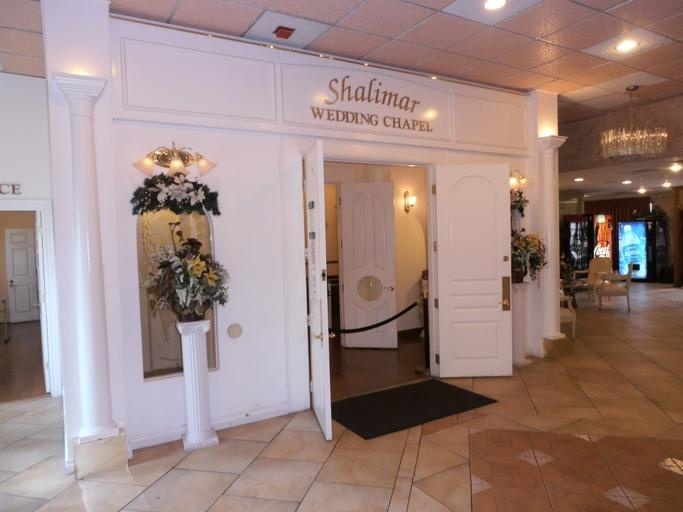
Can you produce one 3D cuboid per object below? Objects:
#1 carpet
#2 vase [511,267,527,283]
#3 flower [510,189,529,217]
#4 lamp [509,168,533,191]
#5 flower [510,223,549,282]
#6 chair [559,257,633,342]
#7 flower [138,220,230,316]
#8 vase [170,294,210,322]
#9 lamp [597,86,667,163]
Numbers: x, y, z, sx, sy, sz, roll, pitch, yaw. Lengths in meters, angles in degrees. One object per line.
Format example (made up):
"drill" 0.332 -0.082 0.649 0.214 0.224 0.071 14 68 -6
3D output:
"carpet" 0.779 1.840 6.236 1.869 0.058 1.052 -7 12 -25
"vase" 2.624 0.296 7.480 0.214 0.209 0.216 0 3 5
"flower" 2.762 -0.784 7.732 0.229 0.430 0.446 8 14 39
"lamp" 2.732 -1.147 7.773 0.468 0.337 0.122 -10 14 -36
"flower" 2.733 -0.001 7.441 0.762 0.948 0.757 2 4 24
"chair" 5.589 0.985 11.072 1.369 1.695 1.284 7 -5 -36
"flower" -1.701 0.213 5.555 0.914 1.098 0.771 0 15 11
"vase" -1.601 0.568 5.369 0.306 0.228 0.277 2 -6 -18
"lamp" 4.975 -2.255 8.660 1.081 1.171 1.113 0 3 19
